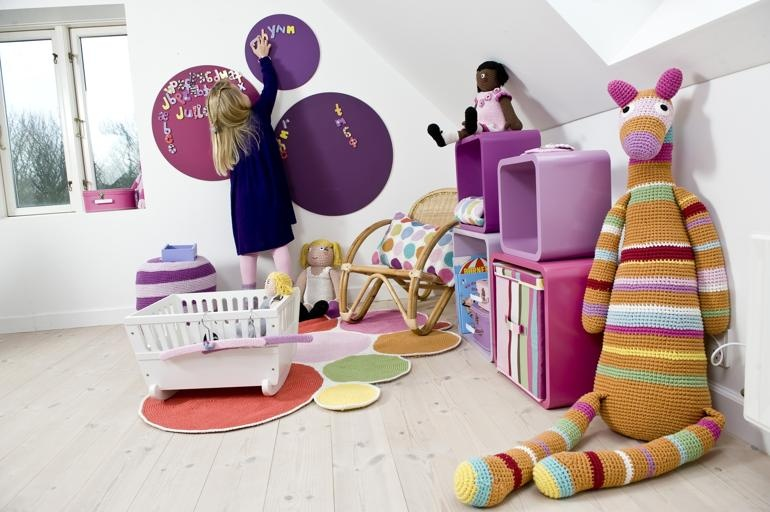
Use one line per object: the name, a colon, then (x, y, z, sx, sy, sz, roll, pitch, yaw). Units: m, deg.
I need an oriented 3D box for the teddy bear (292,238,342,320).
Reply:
teddy bear: (-0.480, 0.147, 3.453, 0.353, 0.555, 0.396, 0, 2, 2)

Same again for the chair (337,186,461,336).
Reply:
chair: (0.187, -0.016, 3.221, 0.582, 0.802, 0.874, 6, 15, 39)

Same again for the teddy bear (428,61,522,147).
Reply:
teddy bear: (0.489, -0.852, 2.723, 0.427, 0.471, 0.392, -2, 0, -28)

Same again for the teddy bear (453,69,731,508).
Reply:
teddy bear: (0.799, 0.052, 1.818, 0.954, 1.438, 0.531, -5, 13, -13)

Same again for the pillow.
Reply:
pillow: (0.219, -0.040, 3.011, 0.510, 0.371, 0.161, 19, -12, 47)

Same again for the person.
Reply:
person: (-0.879, -0.602, 3.316, 0.472, 1.451, 0.308, -9, 14, -26)

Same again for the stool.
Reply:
stool: (-1.310, 0.141, 3.159, 0.368, 0.350, 0.374, 5, 9, 43)
